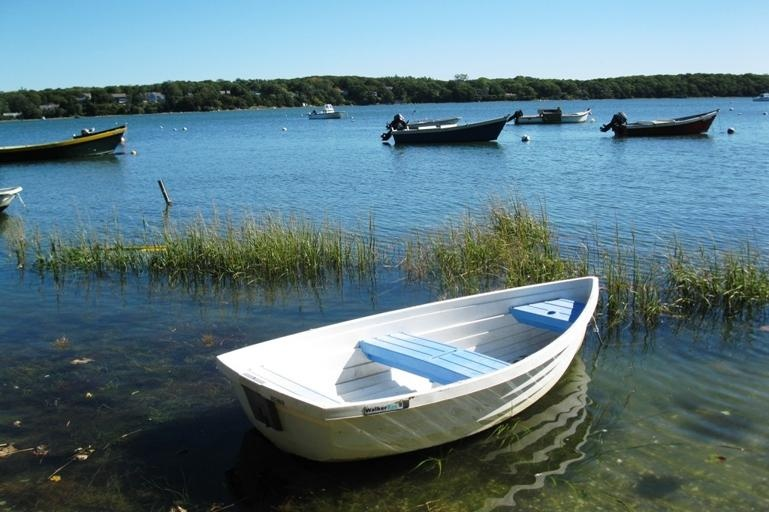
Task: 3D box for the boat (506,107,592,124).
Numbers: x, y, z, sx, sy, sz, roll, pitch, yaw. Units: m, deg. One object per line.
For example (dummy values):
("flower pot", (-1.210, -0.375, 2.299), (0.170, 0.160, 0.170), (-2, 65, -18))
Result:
("boat", (16.467, -13.664, 59.350), (9.303, 1.677, 4.962), (-10, 14, -34))
